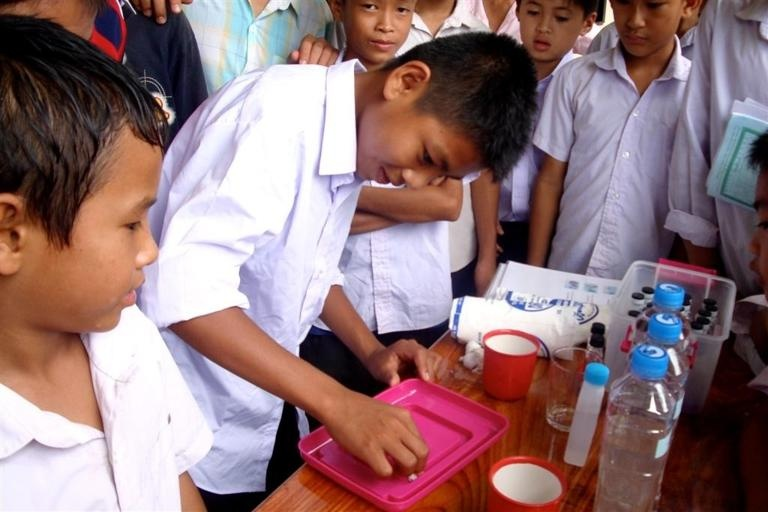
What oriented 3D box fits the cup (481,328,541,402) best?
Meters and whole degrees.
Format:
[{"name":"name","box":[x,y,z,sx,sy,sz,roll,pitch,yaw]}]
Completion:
[{"name":"cup","box":[0.364,0.277,1.766,0.158,0.156,0.176,6,17,19]}]

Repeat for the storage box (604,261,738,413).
[{"name":"storage box","box":[0.837,0.145,1.816,0.310,0.309,0.448,16,31,25]}]
